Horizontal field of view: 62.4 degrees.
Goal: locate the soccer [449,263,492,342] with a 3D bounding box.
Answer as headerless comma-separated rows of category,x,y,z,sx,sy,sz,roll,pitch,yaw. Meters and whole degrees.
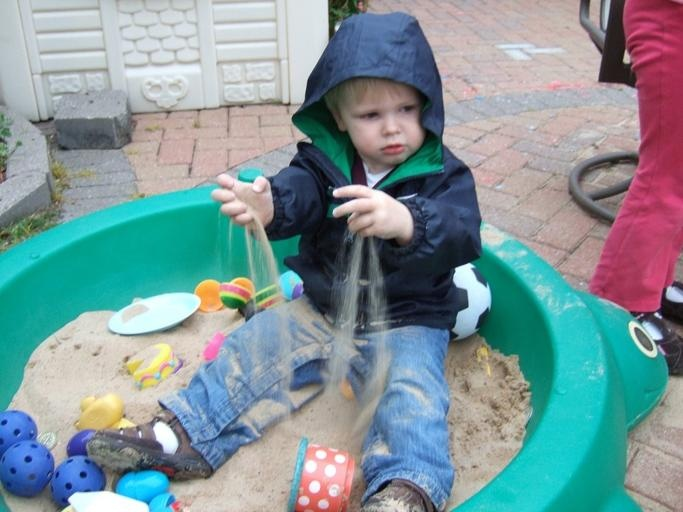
soccer,0.477,0.183,2.119,0.167,0.191,0.166,-44,31,21

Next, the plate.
plate,-0.784,0.239,2.349,0.200,0.037,0.206,-12,27,-12

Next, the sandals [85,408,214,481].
sandals,-0.606,0.622,1.794,0.335,0.274,0.147,-18,29,-26
